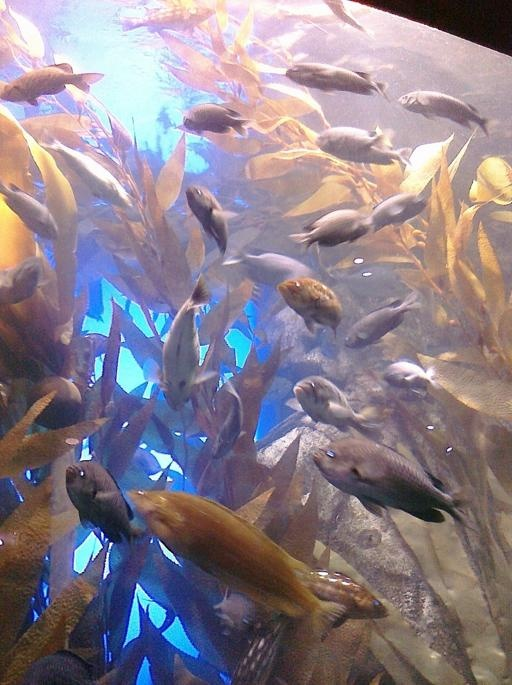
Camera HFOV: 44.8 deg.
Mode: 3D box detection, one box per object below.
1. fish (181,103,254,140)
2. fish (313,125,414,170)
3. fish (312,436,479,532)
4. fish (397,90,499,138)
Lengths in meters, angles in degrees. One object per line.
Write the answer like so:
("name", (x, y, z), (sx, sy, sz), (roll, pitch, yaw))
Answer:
("fish", (-0.111, -0.640, 1.815), (0.171, 0.071, 0.096), (4, 47, 13))
("fish", (0.343, -0.626, 2.001), (0.294, 0.145, 0.130), (5, 40, 2))
("fish", (0.391, 0.409, 1.738), (0.487, 0.223, 0.111), (22, 30, 9))
("fish", (0.649, -0.788, 2.107), (0.259, 0.145, 0.249), (25, 44, 24))
